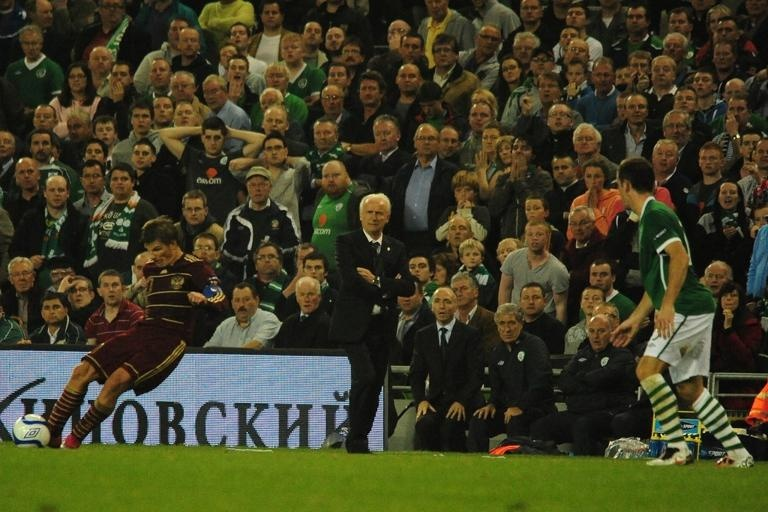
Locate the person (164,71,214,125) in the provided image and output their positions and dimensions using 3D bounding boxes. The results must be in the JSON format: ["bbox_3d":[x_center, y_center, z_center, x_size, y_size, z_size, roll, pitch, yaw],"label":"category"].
[{"bbox_3d":[-3.674,-2.913,28.708,1.044,1.043,0.535,4,23,15],"label":"person"}]

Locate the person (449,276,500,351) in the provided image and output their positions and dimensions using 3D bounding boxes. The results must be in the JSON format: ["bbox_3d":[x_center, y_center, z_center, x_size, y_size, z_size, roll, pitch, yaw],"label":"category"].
[{"bbox_3d":[1.417,0.987,24.840,0.684,1.137,0.617,-24,-27,27],"label":"person"}]

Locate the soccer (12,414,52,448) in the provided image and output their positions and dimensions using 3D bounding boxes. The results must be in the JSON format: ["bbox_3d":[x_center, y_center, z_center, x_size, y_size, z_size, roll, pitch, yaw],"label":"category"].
[{"bbox_3d":[-5.086,2.554,22.372,0.452,0.543,0.458,1,-6,5],"label":"soccer"}]

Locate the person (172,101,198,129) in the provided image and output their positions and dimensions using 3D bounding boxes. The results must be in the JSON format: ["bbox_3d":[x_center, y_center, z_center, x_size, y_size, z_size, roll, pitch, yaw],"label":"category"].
[{"bbox_3d":[-3.574,-2.515,28.233,0.446,0.462,0.781,-1,19,-4],"label":"person"}]

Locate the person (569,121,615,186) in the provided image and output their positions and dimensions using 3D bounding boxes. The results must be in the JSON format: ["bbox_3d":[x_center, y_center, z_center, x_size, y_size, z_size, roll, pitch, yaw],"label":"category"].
[{"bbox_3d":[3.514,-1.645,26.224,1.007,0.842,0.532,-4,-7,23],"label":"person"}]

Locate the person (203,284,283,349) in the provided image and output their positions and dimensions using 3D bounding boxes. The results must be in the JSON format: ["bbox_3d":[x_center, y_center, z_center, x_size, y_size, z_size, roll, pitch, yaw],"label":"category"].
[{"bbox_3d":[-2.237,1.027,25.082,0.886,0.958,1.169,-5,-12,7],"label":"person"}]

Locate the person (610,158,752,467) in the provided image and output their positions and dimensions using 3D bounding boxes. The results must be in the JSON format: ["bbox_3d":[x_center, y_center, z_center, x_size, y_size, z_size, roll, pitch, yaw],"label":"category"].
[{"bbox_3d":[3.927,0.783,21.688,1.370,4.322,0.663,1,-9,8],"label":"person"}]

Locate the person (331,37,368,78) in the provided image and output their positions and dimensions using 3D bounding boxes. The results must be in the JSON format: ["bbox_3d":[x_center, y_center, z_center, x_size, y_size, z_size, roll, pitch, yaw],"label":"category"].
[{"bbox_3d":[-0.570,-3.675,28.890,0.625,0.915,0.663,0,-29,4],"label":"person"}]

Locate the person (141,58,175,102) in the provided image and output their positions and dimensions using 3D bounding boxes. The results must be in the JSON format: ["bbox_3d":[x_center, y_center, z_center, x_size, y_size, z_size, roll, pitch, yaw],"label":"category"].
[{"bbox_3d":[-4.216,-3.225,29.155,0.658,0.858,0.643,8,-15,-39],"label":"person"}]

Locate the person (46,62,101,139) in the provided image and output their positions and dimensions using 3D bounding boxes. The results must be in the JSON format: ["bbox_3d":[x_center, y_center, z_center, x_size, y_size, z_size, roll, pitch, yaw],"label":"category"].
[{"bbox_3d":[-5.818,-2.854,29.250,1.103,1.549,0.863,-3,-14,3],"label":"person"}]

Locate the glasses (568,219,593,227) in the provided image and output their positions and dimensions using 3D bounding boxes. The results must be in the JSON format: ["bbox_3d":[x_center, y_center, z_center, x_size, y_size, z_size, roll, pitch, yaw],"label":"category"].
[{"bbox_3d":[3.255,-0.508,25.501,0.381,0.100,0.096,1,-9,7],"label":"glasses"}]

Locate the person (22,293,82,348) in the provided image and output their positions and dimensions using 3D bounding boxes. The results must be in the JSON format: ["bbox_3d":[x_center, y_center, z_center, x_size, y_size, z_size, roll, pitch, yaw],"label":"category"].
[{"bbox_3d":[-5.428,1.130,25.712,1.014,1.038,0.597,0,0,12],"label":"person"}]

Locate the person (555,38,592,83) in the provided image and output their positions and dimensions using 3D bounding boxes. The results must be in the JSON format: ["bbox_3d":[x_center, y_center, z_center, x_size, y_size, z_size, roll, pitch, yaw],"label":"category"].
[{"bbox_3d":[3.499,-3.479,28.029,0.596,0.871,0.573,0,-20,9],"label":"person"}]

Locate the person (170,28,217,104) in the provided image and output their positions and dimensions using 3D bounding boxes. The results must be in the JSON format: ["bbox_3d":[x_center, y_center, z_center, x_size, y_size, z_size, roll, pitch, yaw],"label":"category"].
[{"bbox_3d":[-3.611,-3.442,29.308,0.984,1.608,0.911,4,-6,12],"label":"person"}]

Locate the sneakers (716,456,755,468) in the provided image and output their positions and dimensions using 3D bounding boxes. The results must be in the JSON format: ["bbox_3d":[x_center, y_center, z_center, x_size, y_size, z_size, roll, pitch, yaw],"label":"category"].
[{"bbox_3d":[4.872,2.896,21.432,0.470,0.150,0.190,2,-11,8],"label":"sneakers"}]

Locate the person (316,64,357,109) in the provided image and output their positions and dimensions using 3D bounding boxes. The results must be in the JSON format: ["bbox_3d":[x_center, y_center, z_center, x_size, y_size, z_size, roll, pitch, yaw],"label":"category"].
[{"bbox_3d":[-0.773,-3.203,28.471,0.733,1.038,0.736,-3,-26,5],"label":"person"}]

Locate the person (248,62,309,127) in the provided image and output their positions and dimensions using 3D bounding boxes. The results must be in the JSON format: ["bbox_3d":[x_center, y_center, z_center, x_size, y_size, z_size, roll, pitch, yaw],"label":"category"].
[{"bbox_3d":[-1.923,-2.863,28.351,1.014,1.473,0.782,-4,-15,11],"label":"person"}]

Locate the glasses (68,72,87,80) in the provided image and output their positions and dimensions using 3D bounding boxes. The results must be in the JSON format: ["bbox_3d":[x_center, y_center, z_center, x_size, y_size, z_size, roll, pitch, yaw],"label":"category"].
[{"bbox_3d":[-5.779,-3.349,29.144,0.188,0.079,0.198,-2,-10,2],"label":"glasses"}]

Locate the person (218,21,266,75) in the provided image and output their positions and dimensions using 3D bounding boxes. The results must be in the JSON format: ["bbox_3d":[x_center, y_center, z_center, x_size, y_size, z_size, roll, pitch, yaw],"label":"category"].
[{"bbox_3d":[-2.704,-3.805,29.791,1.129,1.248,0.597,-3,-11,11],"label":"person"}]
